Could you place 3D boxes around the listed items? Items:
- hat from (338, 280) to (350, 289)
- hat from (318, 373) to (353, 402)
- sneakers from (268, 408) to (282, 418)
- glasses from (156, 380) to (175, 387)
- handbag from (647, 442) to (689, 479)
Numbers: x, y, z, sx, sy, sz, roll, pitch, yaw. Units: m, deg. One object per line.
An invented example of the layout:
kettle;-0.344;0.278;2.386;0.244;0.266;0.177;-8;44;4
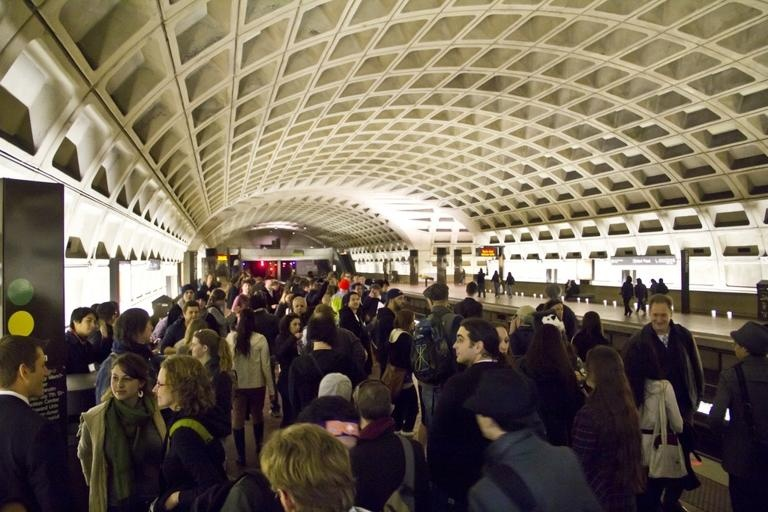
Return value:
hat;-1.054;0.782;13.338;0.280;0.239;0.384;2;-1;-7
hat;-0.603;1.628;6.135;0.272;0.212;0.402;3;16;-5
sneakers;-2.327;3.301;10.303;0.124;0.258;0.364;7;-20;-33
glasses;-2.460;1.443;5.522;0.172;0.049;0.161;4;-4;-22
handbag;3.557;2.578;6.182;0.460;0.430;0.204;0;8;2
